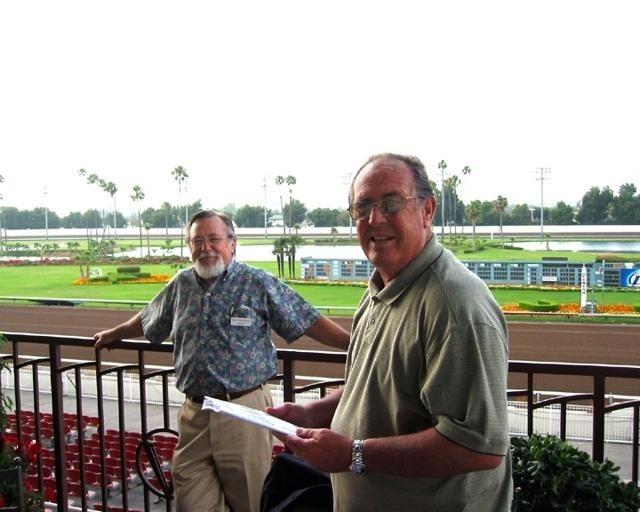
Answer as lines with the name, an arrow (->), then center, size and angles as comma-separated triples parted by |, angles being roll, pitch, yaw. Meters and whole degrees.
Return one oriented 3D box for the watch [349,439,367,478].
watch -> 0.143, 0.753, 2.277 | 0.068, 0.118, 0.107 | -1, -34, 11
